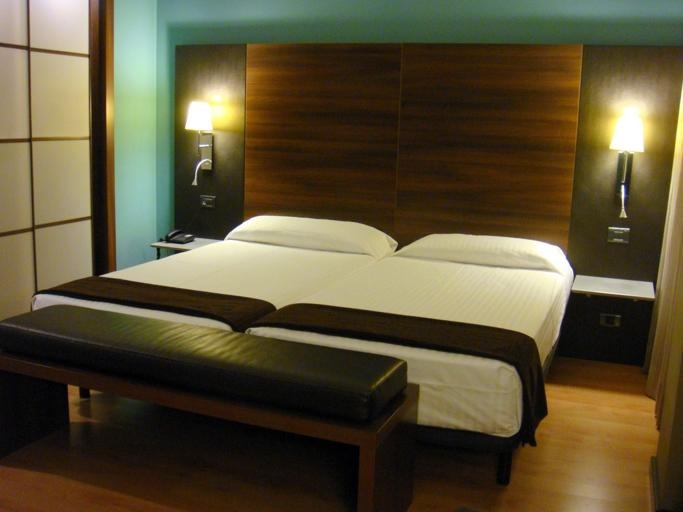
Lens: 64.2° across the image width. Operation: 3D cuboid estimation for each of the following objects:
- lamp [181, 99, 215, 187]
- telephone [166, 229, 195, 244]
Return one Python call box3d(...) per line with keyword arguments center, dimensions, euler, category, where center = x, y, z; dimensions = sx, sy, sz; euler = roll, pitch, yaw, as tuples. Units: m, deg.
box3d(center=(-1.274, -0.982, 4.756), dimensions=(0.286, 0.746, 0.247), euler=(4, 12, 6), category="lamp")
box3d(center=(-1.419, -0.184, 4.696), dimensions=(0.175, 0.058, 0.136), euler=(6, 15, 22), category="telephone")
